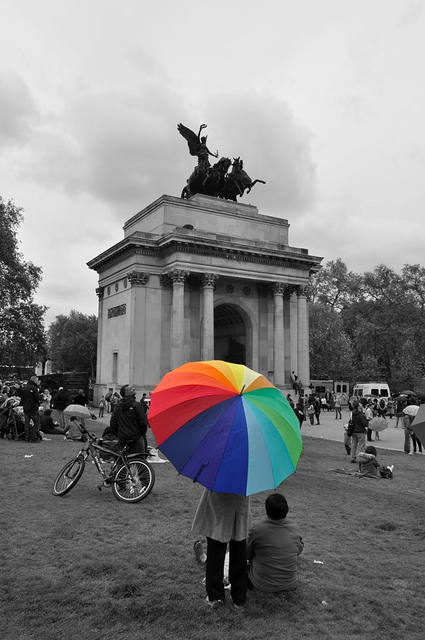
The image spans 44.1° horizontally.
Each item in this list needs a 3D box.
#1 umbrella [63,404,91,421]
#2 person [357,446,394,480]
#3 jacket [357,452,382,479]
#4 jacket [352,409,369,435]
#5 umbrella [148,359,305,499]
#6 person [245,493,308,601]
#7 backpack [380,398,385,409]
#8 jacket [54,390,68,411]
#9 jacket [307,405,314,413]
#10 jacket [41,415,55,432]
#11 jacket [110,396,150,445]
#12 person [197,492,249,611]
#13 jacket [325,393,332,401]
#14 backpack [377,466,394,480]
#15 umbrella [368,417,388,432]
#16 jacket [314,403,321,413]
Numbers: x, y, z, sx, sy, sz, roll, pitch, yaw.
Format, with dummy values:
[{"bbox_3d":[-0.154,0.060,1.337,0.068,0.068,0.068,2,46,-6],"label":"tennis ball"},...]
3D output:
[{"bbox_3d":[-2.933,1.909,11.459,0.423,0.488,0.459,-1,-21,8],"label":"umbrella"},{"bbox_3d":[3.856,3.505,12.773,0.451,0.825,1.016,-16,-27,42],"label":"person"},{"bbox_3d":[3.797,3.517,12.818,0.493,0.763,0.459,-1,-3,24],"label":"jacket"},{"bbox_3d":[4.115,2.846,14.665,0.413,0.685,0.334,1,-5,4],"label":"jacket"},{"bbox_3d":[0.116,0.898,4.792,1.535,0.562,1.574,12,13,-26],"label":"umbrella"},{"bbox_3d":[0.583,2.096,4.903,0.516,0.918,0.275,1,-5,1],"label":"person"},{"bbox_3d":[10.476,5.161,32.426,0.277,0.486,0.651,-1,-6,16],"label":"backpack"},{"bbox_3d":[-6.247,3.314,21.603,0.458,0.862,0.915,3,-6,-17],"label":"jacket"},{"bbox_3d":[5.225,4.702,27.785,0.262,0.402,0.411,0,-6,11],"label":"jacket"},{"bbox_3d":[-5.970,3.752,19.081,0.594,0.693,0.376,0,-3,1],"label":"jacket"},{"bbox_3d":[-1.515,1.793,9.575,0.594,0.877,0.522,-1,-2,11],"label":"jacket"},{"bbox_3d":[0.096,1.982,4.531,0.453,0.999,0.372,2,-5,-6],"label":"person"},{"bbox_3d":[8.640,5.758,39.324,0.354,0.779,0.519,1,-12,4],"label":"jacket"},{"bbox_3d":[4.164,3.678,12.619,0.354,0.233,0.323,0,-6,9],"label":"backpack"},{"bbox_3d":[5.872,3.714,18.846,0.594,0.686,0.472,5,11,-17],"label":"umbrella"},{"bbox_3d":[5.637,4.783,28.393,0.152,0.438,0.591,-2,-6,26],"label":"jacket"}]
